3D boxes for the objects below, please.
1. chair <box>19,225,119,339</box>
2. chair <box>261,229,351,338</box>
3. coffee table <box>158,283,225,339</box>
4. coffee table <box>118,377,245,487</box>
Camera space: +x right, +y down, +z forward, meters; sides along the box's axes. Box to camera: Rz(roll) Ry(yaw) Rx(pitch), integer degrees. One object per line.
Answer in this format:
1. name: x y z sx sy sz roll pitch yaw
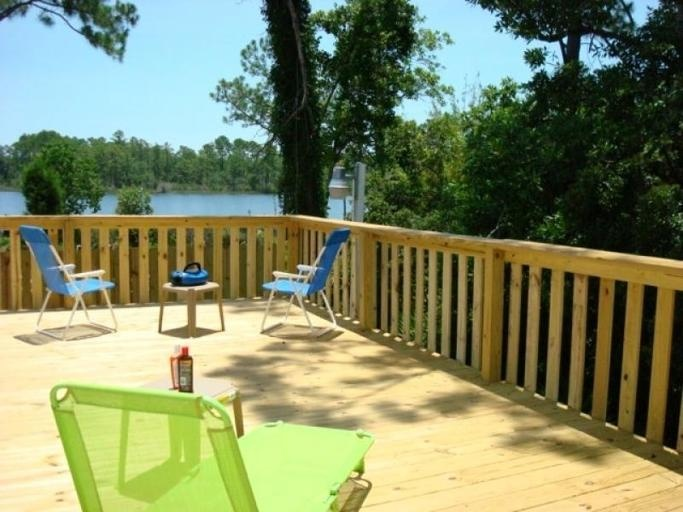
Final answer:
1. chair: -2.742 0.238 7.616 0.880 1.196 0.686 -9 14 -44
2. chair: -0.371 0.235 7.686 0.834 1.077 0.646 5 7 16
3. coffee table: -1.518 0.478 7.660 0.583 0.535 0.600 2 3 43
4. coffee table: -0.957 1.150 5.209 0.565 0.505 0.589 1 5 21
